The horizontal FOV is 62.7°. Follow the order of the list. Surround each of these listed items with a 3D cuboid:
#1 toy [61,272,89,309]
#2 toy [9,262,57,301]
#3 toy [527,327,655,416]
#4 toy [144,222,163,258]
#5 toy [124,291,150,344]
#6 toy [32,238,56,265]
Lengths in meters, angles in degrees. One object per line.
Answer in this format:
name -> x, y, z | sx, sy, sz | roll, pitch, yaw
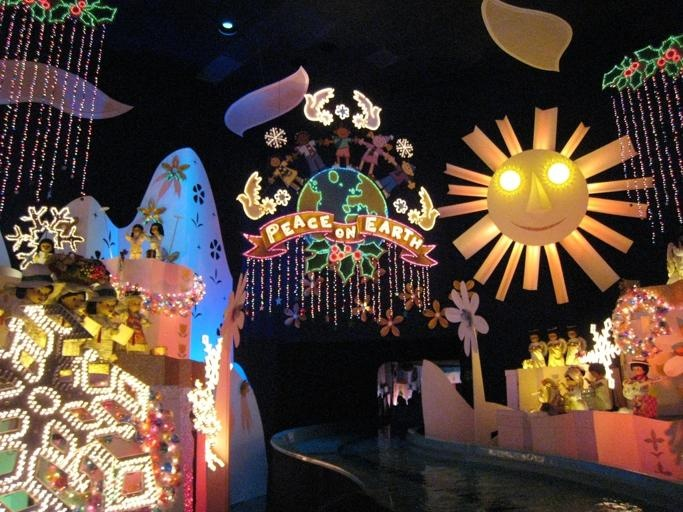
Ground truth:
toy -> -3.045, 0.408, 6.364 | 0.307, 0.420, 0.294 | -25, -26, 36
toy -> -3.400, 0.346, 6.202 | 0.225, 0.435, 0.394 | -44, -33, 18
toy -> 4.079, 2.172, 10.238 | 1.548, 1.091, 1.642 | 5, -8, -36
toy -> -3.165, -0.259, 9.507 | 0.240, 0.746, 1.435 | 3, -7, -18
toy -> -2.820, 0.861, 7.650 | 0.305, 0.785, 0.818 | 3, -8, -21
toy -> -4.178, -0.060, 7.869 | 0.250, 0.349, 0.181 | 20, -24, -25
